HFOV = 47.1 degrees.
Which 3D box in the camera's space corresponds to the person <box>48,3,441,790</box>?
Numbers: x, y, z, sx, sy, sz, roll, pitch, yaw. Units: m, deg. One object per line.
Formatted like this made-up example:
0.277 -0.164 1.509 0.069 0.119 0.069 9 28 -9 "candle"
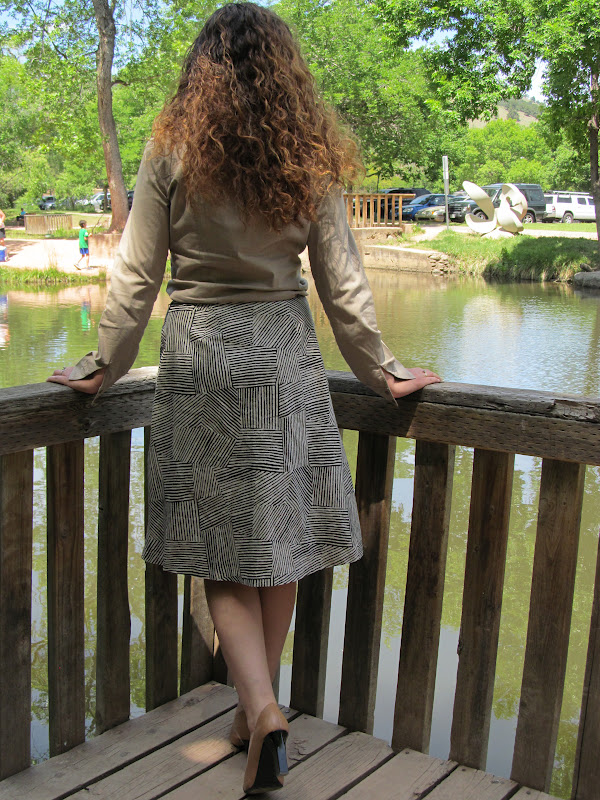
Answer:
-0.102 0.005 1.535 0.543 1.417 0.770 -1 0 -28 "person"
